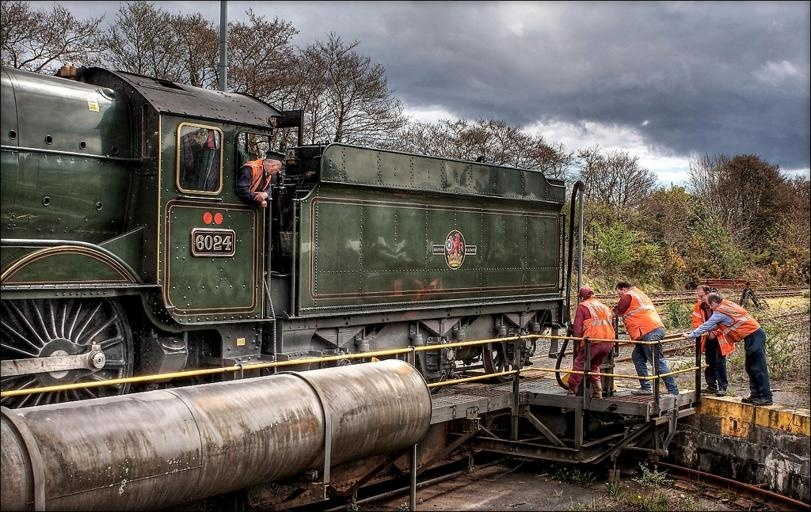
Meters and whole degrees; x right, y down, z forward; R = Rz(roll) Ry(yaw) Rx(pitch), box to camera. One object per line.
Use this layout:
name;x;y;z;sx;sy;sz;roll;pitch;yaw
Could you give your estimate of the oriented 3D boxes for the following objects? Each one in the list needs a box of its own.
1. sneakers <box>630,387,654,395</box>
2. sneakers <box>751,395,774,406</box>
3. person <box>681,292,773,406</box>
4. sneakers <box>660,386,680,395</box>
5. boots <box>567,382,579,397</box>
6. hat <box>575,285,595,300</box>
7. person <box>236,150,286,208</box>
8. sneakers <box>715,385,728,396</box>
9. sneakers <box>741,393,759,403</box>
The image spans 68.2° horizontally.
sneakers;4.884;2.801;12.339;0.397;0.184;0.147;3;1;42
sneakers;7.121;2.882;11.929;0.483;0.202;0.171;5;-3;-9
person;6.765;1.873;12.186;1.308;2.110;1.061;4;7;28
sneakers;5.342;2.730;12.137;0.387;0.169;0.132;-2;-2;29
boots;3.351;2.668;11.928;0.222;0.247;0.237;0;-1;19
hat;3.594;0.736;11.947;0.210;0.201;0.351;2;9;24
person;-2.602;-1.330;10.654;0.638;1.134;0.840;15;5;9
sneakers;6.726;2.884;12.749;0.143;0.181;0.433;-6;-12;32
sneakers;6.878;2.847;11.974;0.123;0.128;0.304;1;0;-41
